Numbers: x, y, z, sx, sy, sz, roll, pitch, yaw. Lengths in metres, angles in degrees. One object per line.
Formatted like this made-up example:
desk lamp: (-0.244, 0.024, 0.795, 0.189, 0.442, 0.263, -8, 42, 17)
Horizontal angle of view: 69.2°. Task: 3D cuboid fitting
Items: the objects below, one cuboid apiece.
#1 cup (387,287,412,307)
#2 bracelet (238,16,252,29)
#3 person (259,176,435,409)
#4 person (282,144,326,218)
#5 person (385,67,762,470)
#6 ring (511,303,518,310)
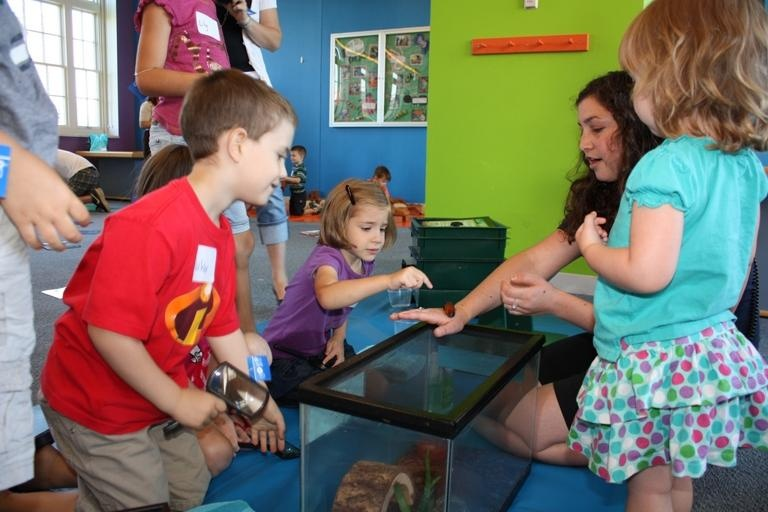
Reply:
cup: (0.085, 0.253, 3.340, 0.135, 0.122, 0.166, 4, 10, 28)
bracelet: (-0.603, -1.004, 2.377, 0.040, 0.011, 0.041, -5, 23, 46)
person: (-0.192, 0.139, 2.138, 0.552, 0.863, 0.606, 11, 11, -2)
person: (-1.110, -1.000, 7.201, 0.594, 0.918, 0.424, -6, 22, -32)
person: (0.590, 0.025, 1.915, 0.988, 1.454, 0.620, 1, -13, 12)
ring: (0.428, 0.164, 1.817, 0.019, 0.011, 0.028, 1, 3, 16)
